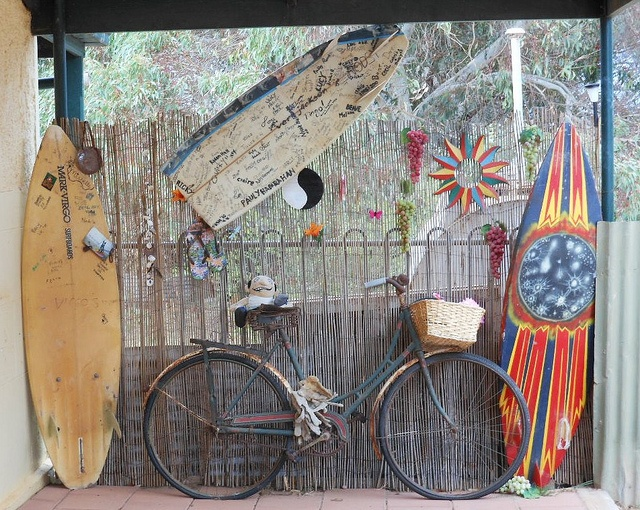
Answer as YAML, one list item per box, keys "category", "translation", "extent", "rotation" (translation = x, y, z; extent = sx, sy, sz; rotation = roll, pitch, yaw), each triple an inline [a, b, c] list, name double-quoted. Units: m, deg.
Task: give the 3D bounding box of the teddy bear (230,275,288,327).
- category: "teddy bear"
  translation: [-0.410, 0.332, 6.533]
  extent: [0.391, 0.406, 0.213]
  rotation: [1, -14, -6]

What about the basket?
- category: "basket"
  translation: [0.860, 0.460, 6.356]
  extent: [0.291, 0.236, 0.432]
  rotation: [1, -13, -1]

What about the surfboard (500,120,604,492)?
- category: "surfboard"
  translation: [1.688, 0.245, 6.650]
  extent: [0.670, 3.179, 0.214]
  rotation: [-7, -40, 25]

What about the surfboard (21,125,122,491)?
- category: "surfboard"
  translation: [-1.737, 0.406, 6.611]
  extent: [0.638, 2.844, 0.529]
  rotation: [4, -34, -26]
